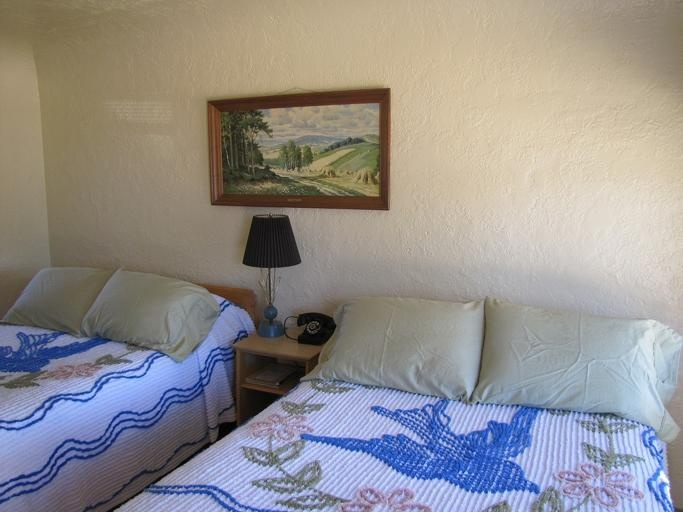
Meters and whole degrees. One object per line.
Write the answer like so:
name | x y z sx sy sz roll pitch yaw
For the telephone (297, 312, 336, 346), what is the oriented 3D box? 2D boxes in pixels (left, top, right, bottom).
telephone | -0.160 0.449 3.094 0.266 0.180 0.147 11 13 30
